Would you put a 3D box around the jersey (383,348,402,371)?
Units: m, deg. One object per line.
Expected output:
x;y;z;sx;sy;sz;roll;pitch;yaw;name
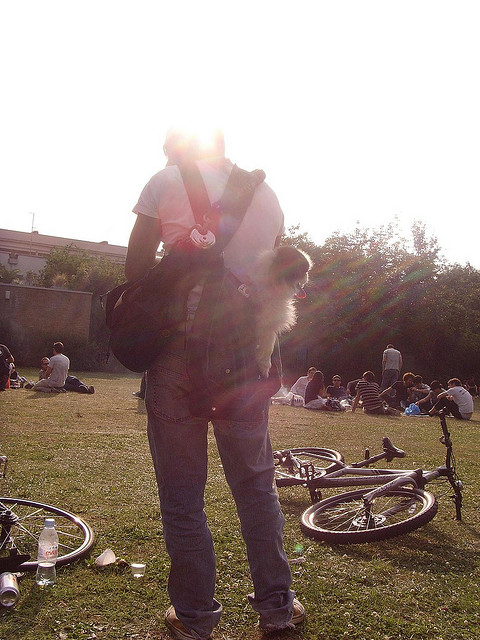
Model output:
5.529;1.493;17.500;0.628;0.799;0.323;5;-3;-18;jersey

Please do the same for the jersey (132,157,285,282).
-0.076;-0.388;2.028;0.566;0.624;0.808;-1;2;14;jersey

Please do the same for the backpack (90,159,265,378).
-0.162;-0.166;1.788;0.292;0.833;0.584;31;5;-3;backpack

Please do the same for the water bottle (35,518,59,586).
-0.951;1.155;2.377;0.097;0.312;0.102;2;-6;0;water bottle

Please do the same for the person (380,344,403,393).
5.487;1.909;17.623;0.770;2.291;0.588;4;-26;17;person

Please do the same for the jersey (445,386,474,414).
6.131;2.254;13.409;0.961;0.737;0.386;6;-4;-18;jersey

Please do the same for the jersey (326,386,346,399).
3.366;2.570;17.000;0.614;0.644;0.363;0;-12;-12;jersey

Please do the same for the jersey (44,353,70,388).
-5.358;1.480;14.002;0.548;0.771;0.573;5;-4;-17;jersey

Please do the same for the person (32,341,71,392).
-5.474;1.419;14.085;0.813;1.468;0.821;-2;-11;38;person
